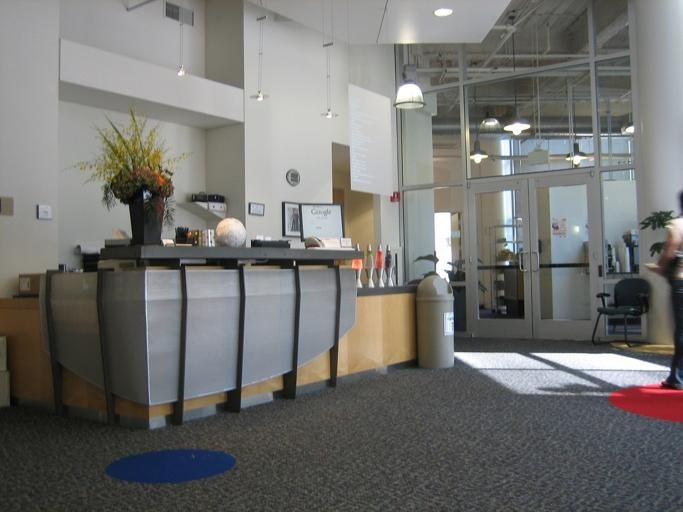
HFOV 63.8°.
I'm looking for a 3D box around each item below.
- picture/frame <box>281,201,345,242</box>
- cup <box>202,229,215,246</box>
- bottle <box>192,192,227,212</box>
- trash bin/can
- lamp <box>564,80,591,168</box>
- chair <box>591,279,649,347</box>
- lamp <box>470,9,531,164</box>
[{"bbox_3d":[-0.398,-0.467,7.413,0.590,0.453,0.124,0,-3,-20],"label":"picture/frame"},{"bbox_3d":[-1.258,-0.175,5.208,0.127,0.163,0.127,0,4,0],"label":"cup"},{"bbox_3d":[-2.103,-0.858,8.655,0.323,0.242,0.349,3,0,0],"label":"bottle"},{"bbox_3d":[1.221,0.852,7.157,0.440,1.153,0.214,-1,2,-7],"label":"trash bin/can"},{"bbox_3d":[4.093,-2.271,9.458,0.424,1.496,0.158,1,3,32],"label":"lamp"},{"bbox_3d":[4.448,0.844,8.698,0.637,1.070,0.710,2,-2,-12],"label":"chair"},{"bbox_3d":[2.956,-3.133,10.254,1.125,2.816,0.510,1,2,23],"label":"lamp"}]
